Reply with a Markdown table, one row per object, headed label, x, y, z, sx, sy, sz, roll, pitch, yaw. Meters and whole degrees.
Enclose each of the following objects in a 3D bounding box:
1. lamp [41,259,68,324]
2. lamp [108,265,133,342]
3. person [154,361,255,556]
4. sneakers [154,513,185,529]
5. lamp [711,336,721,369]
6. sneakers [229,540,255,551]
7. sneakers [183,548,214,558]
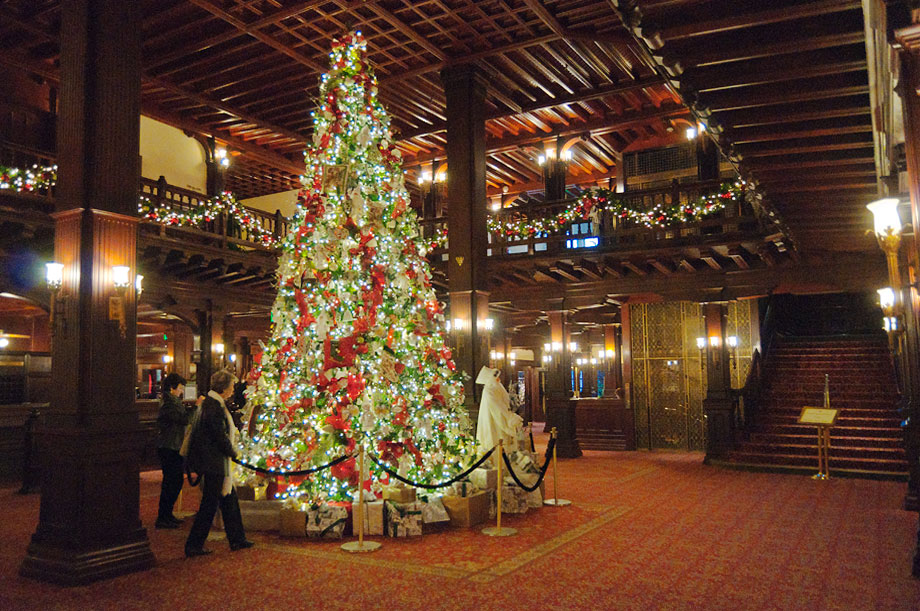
| label | x | y | z | sx | sy | sz | roll | pitch | yaw |
| --- | --- | --- | --- | --- | --- | --- | --- | --- | --- |
| lamp | -5.298 | -0.191 | 9.891 | 0.210 | 0.765 | 2.120 | -1 | 2 | -28 |
| lamp | -4.115 | -0.053 | 9.144 | 0.272 | 0.852 | 0.112 | -1 | 3 | -27 |
| person | -3.063 | 1.970 | 9.447 | 0.731 | 2.257 | 0.461 | 0 | 2 | -18 |
| sneakers | -4.025 | 3.045 | 10.608 | 0.492 | 0.191 | 0.148 | -1 | -4 | 6 |
| lamp | 5.568 | 0.986 | 16.428 | 0.133 | 0.586 | 0.265 | 1 | 2 | 17 |
| sneakers | -2.785 | 3.040 | 9.585 | 0.320 | 0.133 | 0.106 | 3 | -7 | -29 |
| sneakers | -3.254 | 3.054 | 9.391 | 0.324 | 0.140 | 0.110 | -1 | -6 | -18 |
